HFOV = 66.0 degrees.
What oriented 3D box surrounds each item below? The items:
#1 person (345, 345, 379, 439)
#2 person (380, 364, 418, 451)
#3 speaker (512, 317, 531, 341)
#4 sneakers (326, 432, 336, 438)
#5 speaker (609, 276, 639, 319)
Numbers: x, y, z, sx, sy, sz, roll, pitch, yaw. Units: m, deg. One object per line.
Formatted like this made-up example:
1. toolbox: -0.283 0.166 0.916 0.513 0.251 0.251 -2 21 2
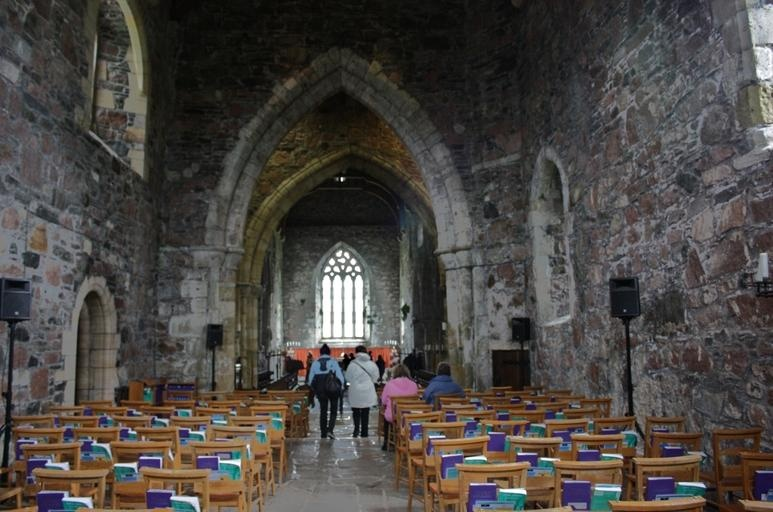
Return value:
1. person: -0.427 2.310 10.104 0.529 1.517 1.202 0 -14 -3
2. person: 0.351 2.339 8.907 0.574 1.020 0.685 -8 0 -19
3. speaker: 2.714 1.499 12.081 0.427 0.630 0.435 1 -5 3
4. sneakers: -0.932 3.015 9.939 0.084 0.140 0.138 -3 2 13
5. speaker: 3.228 0.570 8.080 0.454 0.702 0.388 -3 -15 18
